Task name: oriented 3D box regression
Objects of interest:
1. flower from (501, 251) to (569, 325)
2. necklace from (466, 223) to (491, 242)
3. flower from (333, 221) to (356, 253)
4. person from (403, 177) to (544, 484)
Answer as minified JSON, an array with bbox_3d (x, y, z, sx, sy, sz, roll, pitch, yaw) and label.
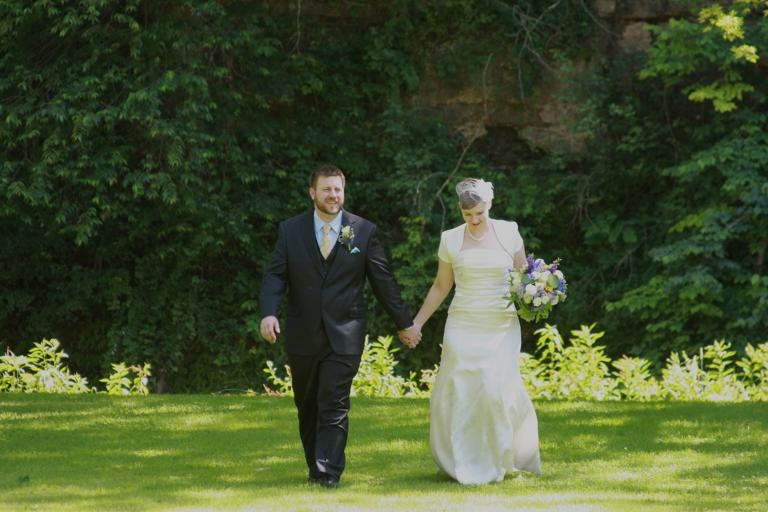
[{"bbox_3d":[1.955,0.393,18.041,0.679,0.679,0.681,11,8,34],"label":"flower"},{"bbox_3d":[1.229,-0.296,17.912,0.204,0.308,0.232,-1,0,-1],"label":"necklace"},{"bbox_3d":[-0.525,-0.220,17.656,0.305,0.305,0.153,-3,-13,12],"label":"flower"},{"bbox_3d":[1.209,0.997,17.875,1.400,3.947,0.645,-3,-9,2],"label":"person"}]
